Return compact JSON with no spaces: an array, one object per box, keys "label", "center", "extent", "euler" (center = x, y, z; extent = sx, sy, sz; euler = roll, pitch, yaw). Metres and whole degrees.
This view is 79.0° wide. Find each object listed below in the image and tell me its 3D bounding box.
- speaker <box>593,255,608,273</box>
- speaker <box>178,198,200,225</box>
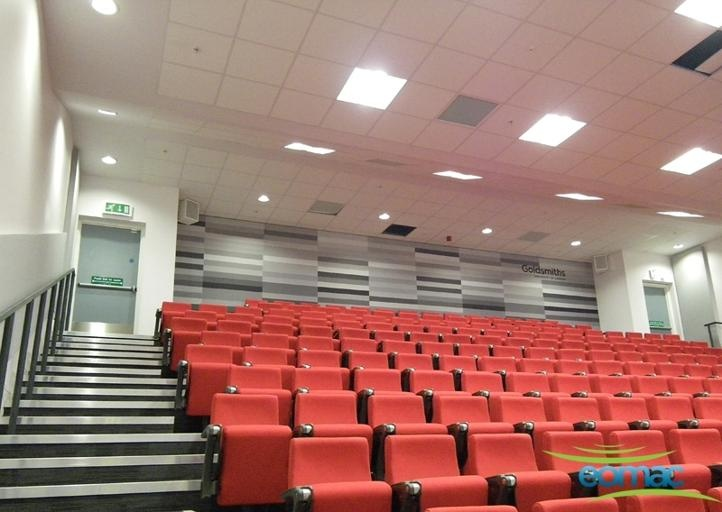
[{"label":"speaker","center":[6.940,0.220,12.602],"extent":[0.368,0.424,0.236],"euler":[-5,-16,22]},{"label":"speaker","center":[-3.651,-0.950,9.219],"extent":[0.345,0.414,0.486],"euler":[-11,-14,33]}]
